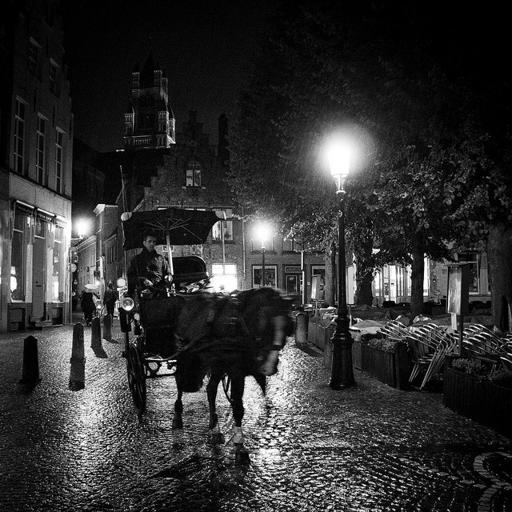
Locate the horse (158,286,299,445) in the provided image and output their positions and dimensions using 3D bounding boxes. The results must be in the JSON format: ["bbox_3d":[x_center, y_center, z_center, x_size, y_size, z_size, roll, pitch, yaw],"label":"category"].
[{"bbox_3d":[-0.295,1.147,6.029,1.379,1.641,0.570,-2,-4,29],"label":"horse"}]

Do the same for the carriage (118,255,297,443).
[{"bbox_3d":[-0.543,0.991,7.116,0.926,2.075,3.146,1,2,-26],"label":"carriage"}]
